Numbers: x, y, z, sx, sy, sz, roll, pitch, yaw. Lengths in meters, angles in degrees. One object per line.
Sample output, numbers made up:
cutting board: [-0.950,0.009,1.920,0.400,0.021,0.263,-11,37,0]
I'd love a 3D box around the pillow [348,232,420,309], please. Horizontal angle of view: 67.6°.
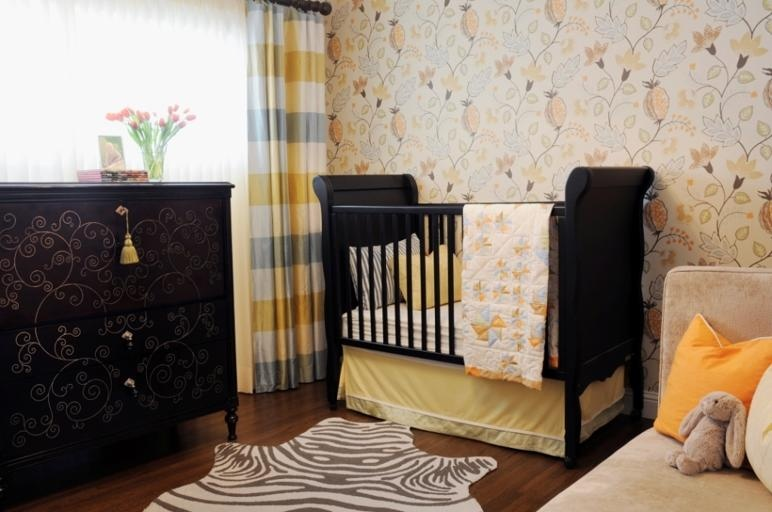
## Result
pillow: [0.077,0.120,3.655,0.623,0.451,0.218,-13,5,-28]

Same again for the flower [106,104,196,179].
flower: [-1.264,-0.620,3.194,0.313,0.339,0.359,-2,-4,9]

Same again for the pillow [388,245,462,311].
pillow: [0.285,0.150,3.590,0.564,0.380,0.192,-4,-9,-44]

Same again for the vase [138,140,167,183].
vase: [-1.261,-0.522,3.200,0.188,0.279,0.201,-3,5,-23]

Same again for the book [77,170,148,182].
book: [-1.403,-0.413,2.971,0.333,0.067,0.244,-8,15,-25]

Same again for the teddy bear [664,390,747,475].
teddy bear: [1.209,0.663,2.180,0.249,0.335,0.241,6,2,8]
